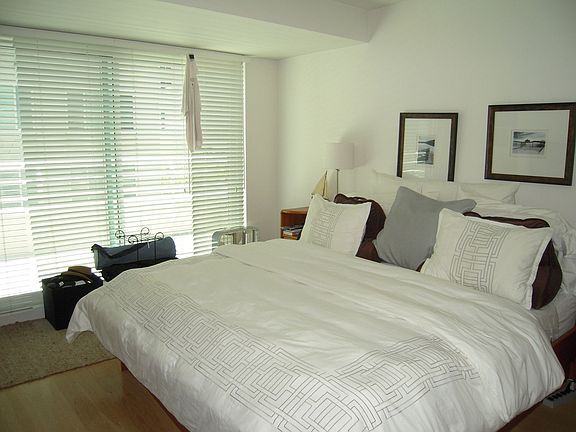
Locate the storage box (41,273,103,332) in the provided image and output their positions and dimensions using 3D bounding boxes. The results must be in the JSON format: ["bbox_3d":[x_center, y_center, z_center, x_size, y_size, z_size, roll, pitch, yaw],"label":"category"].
[{"bbox_3d":[-1.944,0.771,3.731,0.320,0.469,0.477,6,9,44],"label":"storage box"}]

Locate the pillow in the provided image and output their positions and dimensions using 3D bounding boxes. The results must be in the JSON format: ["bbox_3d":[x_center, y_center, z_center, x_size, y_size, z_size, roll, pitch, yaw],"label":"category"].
[{"bbox_3d":[1.221,0.213,3.181,1.236,0.748,0.373,16,-8,-8],"label":"pillow"}]

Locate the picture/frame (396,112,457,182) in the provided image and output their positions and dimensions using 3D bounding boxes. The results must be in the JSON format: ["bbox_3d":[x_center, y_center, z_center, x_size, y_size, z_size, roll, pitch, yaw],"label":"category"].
[{"bbox_3d":[1.385,-0.687,4.099,0.030,0.801,0.637,-4,9,-43],"label":"picture/frame"}]

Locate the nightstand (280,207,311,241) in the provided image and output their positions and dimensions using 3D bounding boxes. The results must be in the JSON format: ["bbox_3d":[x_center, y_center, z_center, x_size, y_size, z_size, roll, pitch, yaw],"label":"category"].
[{"bbox_3d":[0.053,0.054,5.006,0.316,0.398,0.413,-3,5,-43],"label":"nightstand"}]
